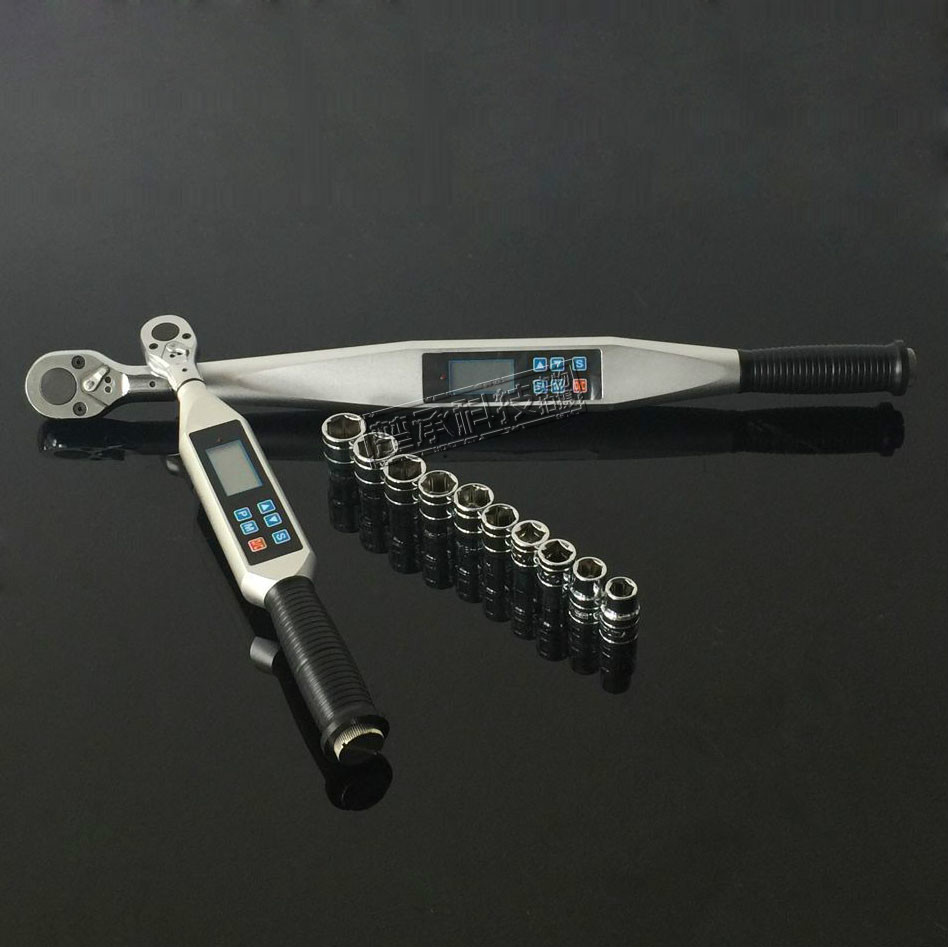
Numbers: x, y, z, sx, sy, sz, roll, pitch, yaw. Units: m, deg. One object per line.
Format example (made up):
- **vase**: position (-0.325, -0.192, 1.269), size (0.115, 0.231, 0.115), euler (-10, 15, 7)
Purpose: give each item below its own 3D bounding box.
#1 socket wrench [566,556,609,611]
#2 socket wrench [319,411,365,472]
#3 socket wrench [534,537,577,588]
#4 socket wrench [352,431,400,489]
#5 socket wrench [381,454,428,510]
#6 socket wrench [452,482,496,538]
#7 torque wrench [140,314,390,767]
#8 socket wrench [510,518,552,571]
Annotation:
- **socket wrench**: position (0.091, 0.086, 0.924), size (0.034, 0.036, 0.038), euler (-3, -54, -8)
- **socket wrench**: position (-0.132, -0.032, 1.144), size (0.038, 0.052, 0.060), euler (17, 23, 36)
- **socket wrench**: position (0.067, 0.073, 0.954), size (0.027, 0.041, 0.029), euler (2, -55, 3)
- **socket wrench**: position (-0.095, -0.015, 1.120), size (0.035, 0.056, 0.048), euler (2, -64, 1)
- **socket wrench**: position (-0.064, 0.007, 1.068), size (0.032, 0.050, 0.035), euler (1, -68, 4)
- **socket wrench**: position (0.003, 0.031, 1.038), size (0.029, 0.047, 0.032), euler (-1, -60, -2)
- **torque wrench**: position (-0.243, -0.013, 1.047), size (0.103, 0.699, 0.093), euler (-11, -46, -22)
- **socket wrench**: position (0.048, 0.060, 0.979), size (0.031, 0.039, 0.035), euler (0, -60, 1)
